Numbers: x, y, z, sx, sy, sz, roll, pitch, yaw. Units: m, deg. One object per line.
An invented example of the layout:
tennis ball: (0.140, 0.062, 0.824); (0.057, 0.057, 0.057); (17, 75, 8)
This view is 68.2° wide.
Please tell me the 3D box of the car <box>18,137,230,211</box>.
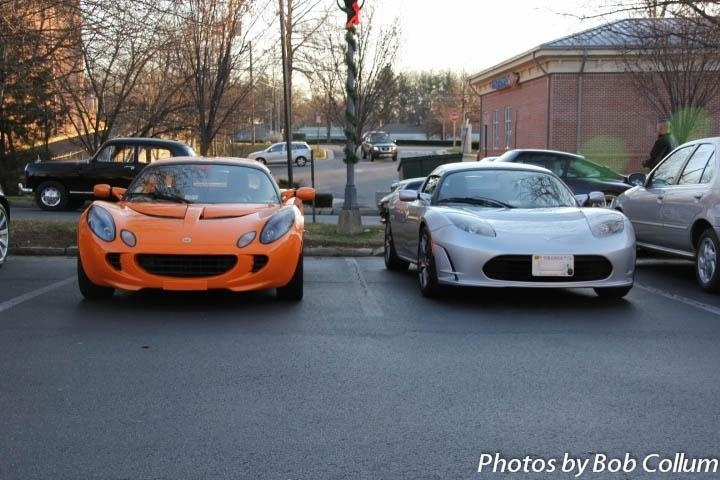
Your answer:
car: (-9.014, -1.664, 19.073); (7.949, 3.047, 3.512); (0, 4, 4)

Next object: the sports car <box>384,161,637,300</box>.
sports car: (2.077, -0.170, 7.899); (3.645, 1.965, 2.311); (4, 8, 29)

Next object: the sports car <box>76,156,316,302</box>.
sports car: (-2.311, -0.330, 7.253); (1.858, 1.119, 3.179); (0, -1, -2)

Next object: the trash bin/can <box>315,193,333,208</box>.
trash bin/can: (-1.505, -1.588, 22.000); (0.660, 0.600, 0.766); (1, 7, 1)
